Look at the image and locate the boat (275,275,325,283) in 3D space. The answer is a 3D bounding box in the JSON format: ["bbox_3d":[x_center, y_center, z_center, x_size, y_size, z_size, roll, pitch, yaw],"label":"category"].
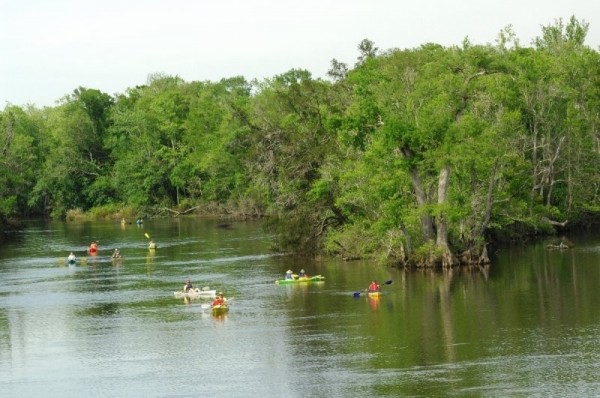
[{"bbox_3d":[0.005,8.023,81.643,4.676,0.766,1.624,0,-1,-15],"label":"boat"}]

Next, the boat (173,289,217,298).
[{"bbox_3d":[-9.897,8.927,77.532,3.000,0.550,0.662,-3,-2,12],"label":"boat"}]

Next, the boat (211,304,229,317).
[{"bbox_3d":[-7.118,9.808,72.664,1.480,0.931,1.224,-3,5,-7],"label":"boat"}]

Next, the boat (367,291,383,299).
[{"bbox_3d":[6.888,8.825,76.081,1.314,0.485,1.066,-1,5,6],"label":"boat"}]

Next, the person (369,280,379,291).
[{"bbox_3d":[6.887,8.091,76.634,1.090,0.926,1.045,-2,5,4],"label":"person"}]

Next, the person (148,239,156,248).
[{"bbox_3d":[-18.640,5.663,102.632,0.998,1.016,1.000,1,12,-5],"label":"person"}]

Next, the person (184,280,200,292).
[{"bbox_3d":[-10.357,8.364,78.374,1.478,1.531,0.978,-14,-8,39],"label":"person"}]
